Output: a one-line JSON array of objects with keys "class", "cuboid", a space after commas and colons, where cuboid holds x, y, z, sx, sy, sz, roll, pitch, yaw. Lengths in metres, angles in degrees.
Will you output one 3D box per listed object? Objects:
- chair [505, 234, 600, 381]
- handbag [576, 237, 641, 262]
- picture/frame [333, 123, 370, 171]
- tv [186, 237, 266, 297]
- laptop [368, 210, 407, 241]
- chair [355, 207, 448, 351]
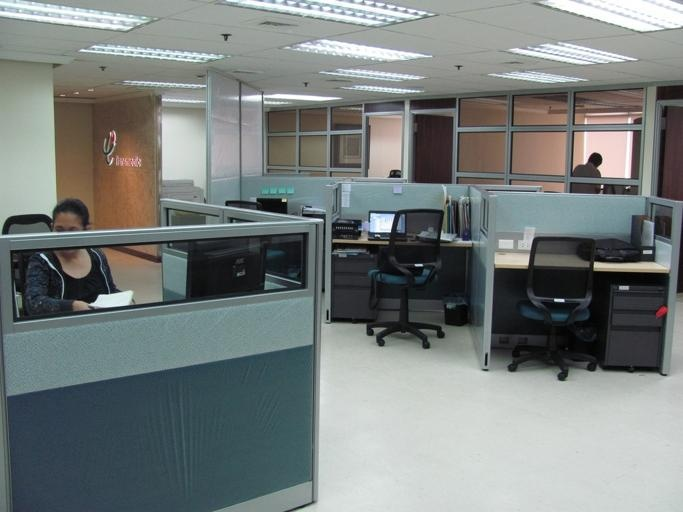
[{"class": "chair", "cuboid": [1.983, 0.417, 4.918, 0.720, 1.281, 0.681, 7, 15, 25]}, {"class": "handbag", "cuboid": [2.446, -0.039, 5.031, 0.397, 0.123, 0.377, -3, 10, -15]}, {"class": "picture/frame", "cuboid": [0.100, -2.283, 11.404, 0.776, 0.835, 0.110, 9, 16, 32]}, {"class": "tv", "cuboid": [-0.622, 0.064, 2.963, 0.545, 0.357, 0.282, -1, 3, -21]}, {"class": "laptop", "cuboid": [0.523, -0.371, 6.288, 0.511, 0.339, 0.319, 1, 0, 6]}, {"class": "chair", "cuboid": [0.735, 0.142, 5.962, 0.854, 1.436, 1.369, 2, 13, 7]}]
